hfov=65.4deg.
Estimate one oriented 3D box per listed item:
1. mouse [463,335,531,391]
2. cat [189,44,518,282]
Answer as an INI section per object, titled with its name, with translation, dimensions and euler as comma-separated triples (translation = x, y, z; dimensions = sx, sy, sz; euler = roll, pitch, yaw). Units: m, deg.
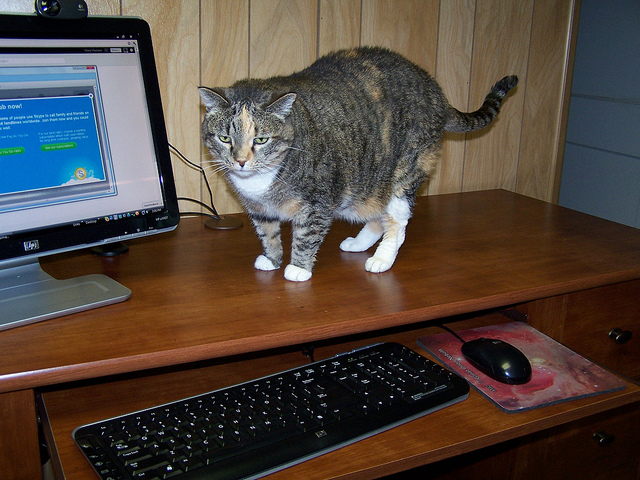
[mouse]
translation = 0.358, 0.235, 0.981
dimensions = 0.105, 0.049, 0.169
euler = 1, 9, -11
[cat]
translation = 0.068, -0.204, 1.424
dimensions = 1.067, 0.579, 0.352
euler = -16, 26, -41
